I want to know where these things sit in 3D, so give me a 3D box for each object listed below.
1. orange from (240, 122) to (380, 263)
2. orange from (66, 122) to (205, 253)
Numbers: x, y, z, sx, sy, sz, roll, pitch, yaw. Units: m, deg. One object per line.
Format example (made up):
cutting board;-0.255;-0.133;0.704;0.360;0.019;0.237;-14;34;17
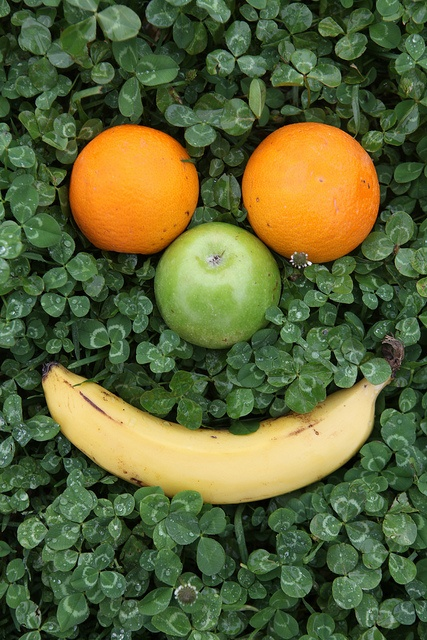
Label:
orange;0.240;-0.311;1.438;0.325;0.287;0.244;3;43;1
orange;-0.196;-0.314;1.432;0.295;0.266;0.201;-5;44;-8
